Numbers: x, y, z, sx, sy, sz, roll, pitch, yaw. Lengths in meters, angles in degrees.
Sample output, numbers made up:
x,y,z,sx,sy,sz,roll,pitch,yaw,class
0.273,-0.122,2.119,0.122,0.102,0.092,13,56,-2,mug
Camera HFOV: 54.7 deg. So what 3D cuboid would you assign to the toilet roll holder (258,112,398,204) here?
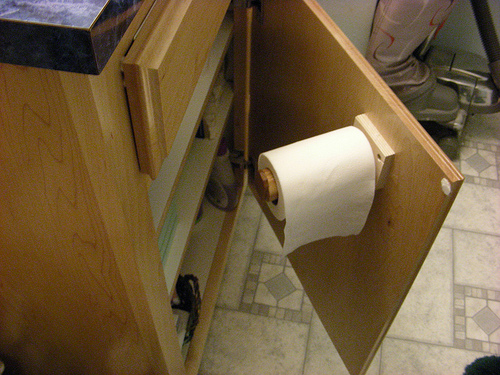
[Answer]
x,y,z,sx,sy,sz,roll,pitch,yaw,class
0.142,-0.026,0.924,0.227,0.123,0.142,-25,69,-6,toilet roll holder
